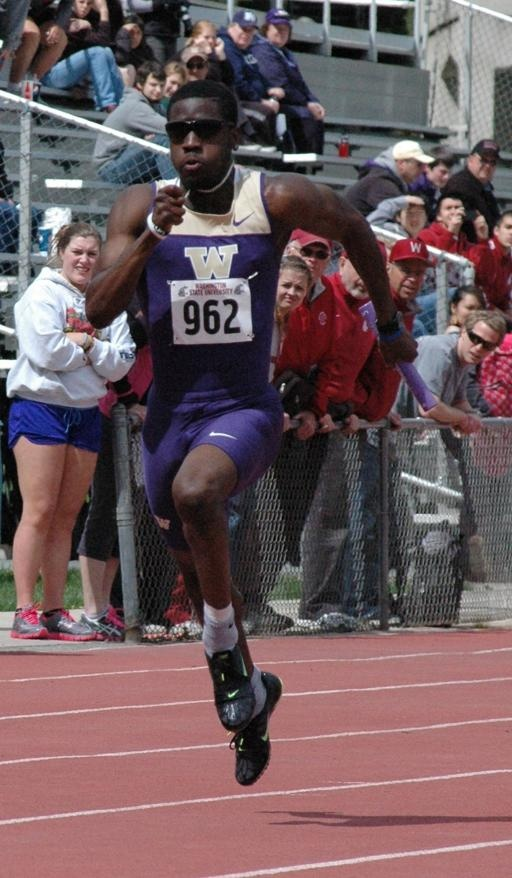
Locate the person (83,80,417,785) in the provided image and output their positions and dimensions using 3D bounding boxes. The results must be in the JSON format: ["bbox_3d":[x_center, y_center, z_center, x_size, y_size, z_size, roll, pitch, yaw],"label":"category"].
[{"bbox_3d":[-0.087,0.000,2.371,0.765,1.891,0.504,-4,5,-45],"label":"person"}]

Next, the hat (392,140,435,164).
[{"bbox_3d":[1.572,-2.793,8.612,0.449,0.214,0.281,3,14,-5],"label":"hat"}]

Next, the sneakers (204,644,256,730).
[{"bbox_3d":[-0.072,0.621,2.198,0.086,0.232,0.102,-9,-32,7],"label":"sneakers"}]

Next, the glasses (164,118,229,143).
[{"bbox_3d":[-0.160,-0.775,2.220,0.156,0.055,0.087,0,3,6],"label":"glasses"}]
